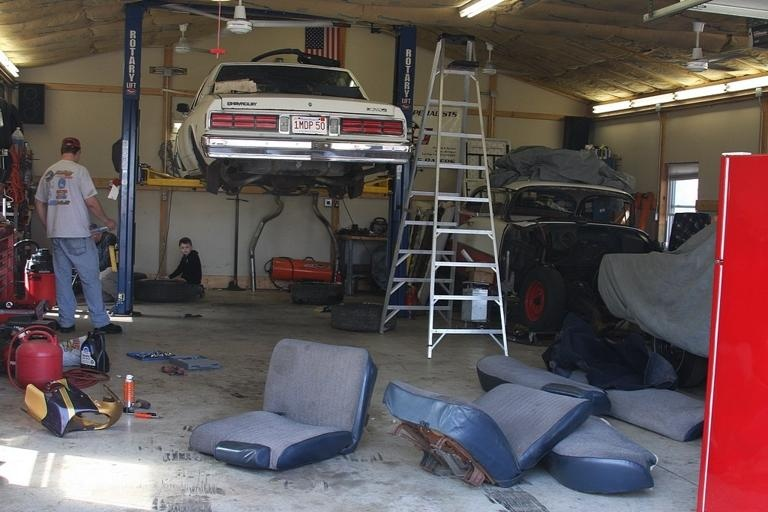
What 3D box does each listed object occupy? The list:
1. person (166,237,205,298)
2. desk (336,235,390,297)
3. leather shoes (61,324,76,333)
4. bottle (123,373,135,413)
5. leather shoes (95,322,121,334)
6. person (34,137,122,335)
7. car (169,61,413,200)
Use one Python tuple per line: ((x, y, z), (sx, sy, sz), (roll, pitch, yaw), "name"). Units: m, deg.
((-3.545, 0.155, 12.019), (0.707, 0.918, 0.673), (6, 6, 21), "person")
((-0.224, 0.133, 13.287), (0.953, 1.149, 1.118), (3, 5, 6), "desk")
((-3.785, 0.858, 8.222), (0.116, 0.102, 0.265), (2, -3, -24), "leather shoes")
((-2.139, 1.138, 5.744), (0.082, 0.312, 0.146), (0, 12, -20), "bottle")
((-3.298, 0.855, 8.186), (0.404, 0.135, 0.190), (-1, 6, -14), "leather shoes")
((-3.656, -0.232, 8.212), (0.921, 2.322, 0.627), (13, 15, 39), "person")
((-1.193, -1.610, 8.644), (2.563, 1.754, 2.272), (0, 11, -15), "car")
